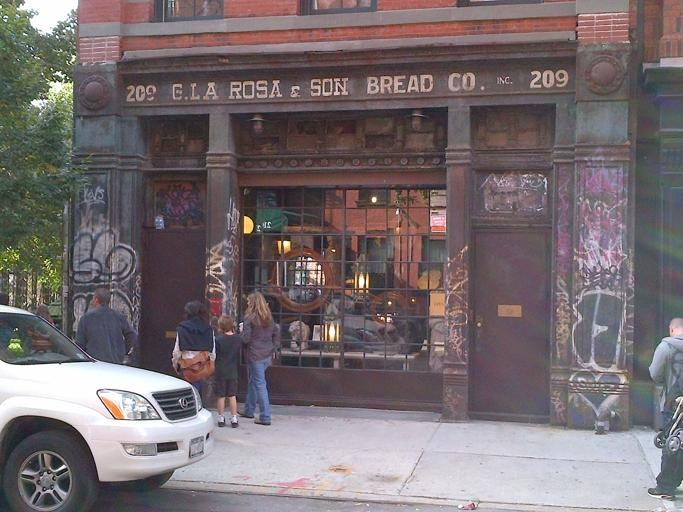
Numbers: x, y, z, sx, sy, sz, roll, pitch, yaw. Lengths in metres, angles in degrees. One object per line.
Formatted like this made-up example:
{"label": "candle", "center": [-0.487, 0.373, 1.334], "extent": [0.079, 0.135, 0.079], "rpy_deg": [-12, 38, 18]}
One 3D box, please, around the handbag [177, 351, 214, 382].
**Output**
{"label": "handbag", "center": [-2.375, 1.798, 16.248], "extent": [0.743, 0.555, 0.421], "rpy_deg": [-12, -3, -11]}

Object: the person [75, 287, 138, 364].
{"label": "person", "center": [-3.824, 1.584, 16.084], "extent": [0.944, 2.271, 0.617], "rpy_deg": [-1, 24, -13]}

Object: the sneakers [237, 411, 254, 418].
{"label": "sneakers", "center": [-1.701, 2.789, 17.444], "extent": [0.302, 0.132, 0.113], "rpy_deg": [14, 8, 38]}

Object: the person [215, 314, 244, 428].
{"label": "person", "center": [-1.943, 1.988, 16.915], "extent": [0.477, 1.837, 0.755], "rpy_deg": [-1, 8, -7]}

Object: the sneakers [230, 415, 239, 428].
{"label": "sneakers", "center": [-1.825, 2.807, 16.798], "extent": [0.141, 0.189, 0.461], "rpy_deg": [0, -8, -9]}

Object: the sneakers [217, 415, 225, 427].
{"label": "sneakers", "center": [-2.053, 2.806, 16.836], "extent": [0.122, 0.160, 0.375], "rpy_deg": [0, -10, -2]}

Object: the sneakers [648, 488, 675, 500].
{"label": "sneakers", "center": [4.405, 3.290, 13.680], "extent": [0.315, 0.142, 0.137], "rpy_deg": [6, -1, 22]}
